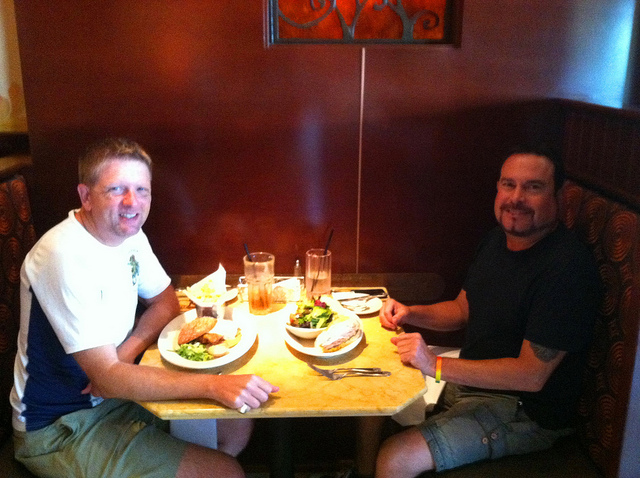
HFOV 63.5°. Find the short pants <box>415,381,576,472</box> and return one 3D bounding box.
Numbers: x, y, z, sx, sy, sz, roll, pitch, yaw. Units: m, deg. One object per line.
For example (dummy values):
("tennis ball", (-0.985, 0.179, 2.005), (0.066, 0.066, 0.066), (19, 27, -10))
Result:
("short pants", (0.615, 0.703, 1.941), (0.392, 0.126, 0.365), (1, 22, -1))

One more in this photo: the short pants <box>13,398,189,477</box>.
("short pants", (-0.782, 0.722, 1.857), (0.602, 0.219, 0.290), (-3, 21, -5))

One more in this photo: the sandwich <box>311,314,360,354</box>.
("sandwich", (0.058, 0.349, 1.886), (0.088, 0.041, 0.153), (25, 33, 36))

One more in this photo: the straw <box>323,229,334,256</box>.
("straw", (0.038, 0.010, 2.402), (0.015, 0.131, 0.014), (8, 24, -41))

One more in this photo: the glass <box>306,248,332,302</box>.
("glass", (-0.008, 0.156, 2.194), (0.105, 0.183, 0.070), (-3, 21, -4))

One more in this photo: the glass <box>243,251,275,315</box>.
("glass", (-0.246, 0.178, 2.155), (0.119, 0.197, 0.211), (-4, 21, -8))

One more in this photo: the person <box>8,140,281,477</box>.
("person", (-0.690, 0.263, 1.830), (0.830, 1.157, 0.575), (-1, 21, 1))

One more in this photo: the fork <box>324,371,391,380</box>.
("fork", (0.132, 0.459, 1.746), (0.219, 0.013, 0.023), (-3, 21, -4))

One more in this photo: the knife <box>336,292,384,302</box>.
("knife", (0.169, 0.250, 2.225), (0.123, 0.016, 0.007), (-10, 11, -15))

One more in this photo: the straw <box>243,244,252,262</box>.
("straw", (-0.321, 0.058, 2.315), (0.009, 0.086, 0.010), (-14, -15, -38))
